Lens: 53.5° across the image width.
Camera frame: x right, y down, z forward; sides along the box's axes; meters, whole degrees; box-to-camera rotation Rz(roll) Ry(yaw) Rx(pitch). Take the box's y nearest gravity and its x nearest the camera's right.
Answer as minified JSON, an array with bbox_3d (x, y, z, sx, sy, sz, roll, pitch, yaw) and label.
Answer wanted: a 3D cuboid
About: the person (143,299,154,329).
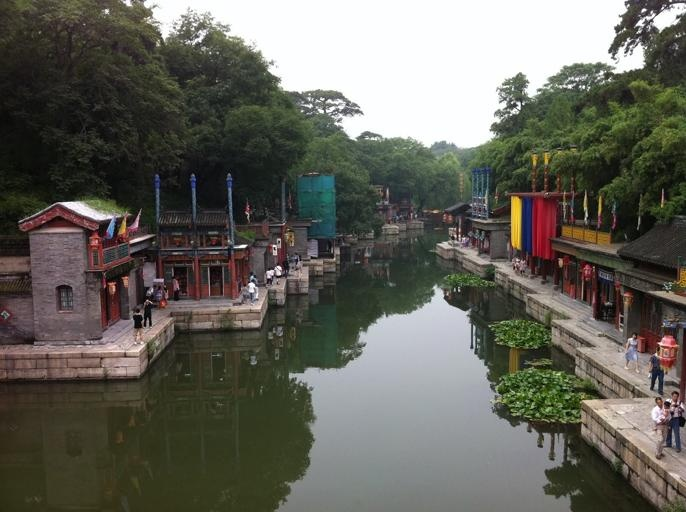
[{"bbox_3d":[-9.248,2.736,32.175,0.371,1.170,1.677,-3,4,-15],"label":"person"}]

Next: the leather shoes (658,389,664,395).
[{"bbox_3d":[11.245,4.888,24.110,0.092,0.223,0.295,-11,-11,9],"label":"leather shoes"}]

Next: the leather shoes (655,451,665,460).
[{"bbox_3d":[9.790,6.230,20.997,0.123,0.180,0.398,-7,-14,10],"label":"leather shoes"}]

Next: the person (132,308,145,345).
[{"bbox_3d":[-8.952,3.134,29.770,0.354,1.342,1.549,-3,4,-17],"label":"person"}]

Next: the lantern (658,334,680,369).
[{"bbox_3d":[11.149,3.355,23.385,0.544,1.161,0.682,-1,4,25],"label":"lantern"}]

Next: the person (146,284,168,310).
[{"bbox_3d":[-9.609,2.101,34.790,1.020,1.469,1.249,0,-3,-13],"label":"person"}]

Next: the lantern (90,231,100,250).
[{"bbox_3d":[-10.505,-0.630,28.784,0.474,0.794,0.337,-3,4,-12],"label":"lantern"}]

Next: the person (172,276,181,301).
[{"bbox_3d":[-8.910,1.767,36.294,0.383,1.374,0.692,-3,4,-10],"label":"person"}]

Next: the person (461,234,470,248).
[{"bbox_3d":[11.513,-1.311,64.062,0.782,1.597,0.780,-16,21,-36],"label":"person"}]

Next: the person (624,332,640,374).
[{"bbox_3d":[11.127,3.702,26.298,0.510,1.351,1.190,-1,4,23],"label":"person"}]

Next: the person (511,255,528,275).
[{"bbox_3d":[11.915,0.751,45.886,0.548,0.839,1.386,4,12,26],"label":"person"}]

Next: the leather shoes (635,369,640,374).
[{"bbox_3d":[11.140,4.410,25.784,0.078,0.102,0.229,-9,-5,12],"label":"leather shoes"}]

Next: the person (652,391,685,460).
[{"bbox_3d":[10.127,5.273,21.343,1.219,1.908,0.669,-4,4,-19],"label":"person"}]

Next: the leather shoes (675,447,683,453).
[{"bbox_3d":[10.443,6.088,21.209,0.120,0.158,0.326,-6,-10,29],"label":"leather shoes"}]

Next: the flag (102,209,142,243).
[{"bbox_3d":[-10.425,-1.349,31.919,1.511,0.250,1.562,-47,-12,-34],"label":"flag"}]

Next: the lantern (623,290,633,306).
[{"bbox_3d":[11.663,1.764,28.062,0.443,0.680,0.482,-1,6,-1],"label":"lantern"}]
